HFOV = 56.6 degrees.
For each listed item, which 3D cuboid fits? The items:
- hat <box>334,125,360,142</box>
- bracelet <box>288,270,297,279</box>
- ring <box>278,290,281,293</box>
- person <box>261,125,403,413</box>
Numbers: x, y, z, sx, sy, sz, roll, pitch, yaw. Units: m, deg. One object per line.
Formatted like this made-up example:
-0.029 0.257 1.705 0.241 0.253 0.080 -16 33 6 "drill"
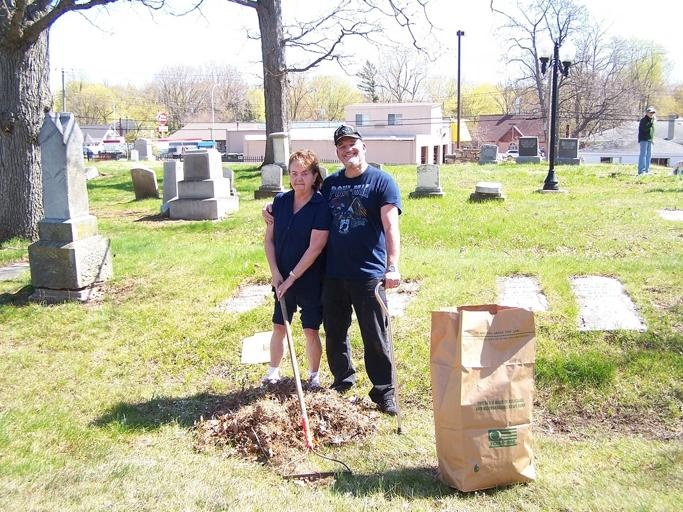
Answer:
0.053 -1.196 6.255 0.270 0.170 0.225 4 12 11 "hat"
-0.487 0.184 6.408 0.032 0.081 0.063 -35 31 -28 "bracelet"
-0.625 0.360 6.389 0.016 0.024 0.006 -11 -28 37 "ring"
0.195 0.140 6.368 0.839 2.820 0.591 3 11 11 "person"
